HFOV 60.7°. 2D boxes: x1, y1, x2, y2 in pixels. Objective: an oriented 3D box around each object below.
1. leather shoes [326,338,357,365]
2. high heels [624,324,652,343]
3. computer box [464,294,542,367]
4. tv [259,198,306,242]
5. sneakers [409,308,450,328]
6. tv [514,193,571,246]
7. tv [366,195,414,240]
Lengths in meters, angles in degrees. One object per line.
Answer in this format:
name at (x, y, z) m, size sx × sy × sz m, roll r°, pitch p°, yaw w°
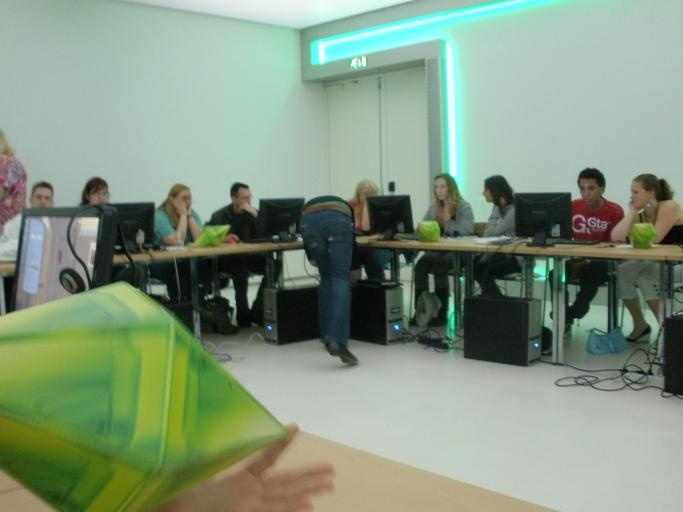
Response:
leather shoes at (-0.016, 0.632, 3.829) m, size 0.174 × 0.058 × 0.081 m, roll 45°, pitch -1°, yaw -21°
high heels at (2.143, 0.568, 4.266) m, size 0.273 × 0.134 × 0.098 m, roll -4°, pitch -1°, yaw -17°
computer box at (1.067, 0.481, 3.889) m, size 0.444 × 0.439 × 0.252 m, roll 3°, pitch 7°, yaw 40°
tv at (-0.487, -0.283, 4.624) m, size 0.301 × 0.285 × 0.100 m, roll -3°, pitch 15°, yaw -28°
sneakers at (0.773, 0.532, 4.884) m, size 0.189 × 0.079 × 0.194 m, roll -2°, pitch 4°, yaw -29°
tv at (1.376, -0.253, 3.972) m, size 0.305 × 0.296 × 0.108 m, roll 3°, pitch 8°, yaw 27°
tv at (0.379, -0.300, 4.653) m, size 0.315 × 0.270 × 0.120 m, roll 3°, pitch 14°, yaw 31°
